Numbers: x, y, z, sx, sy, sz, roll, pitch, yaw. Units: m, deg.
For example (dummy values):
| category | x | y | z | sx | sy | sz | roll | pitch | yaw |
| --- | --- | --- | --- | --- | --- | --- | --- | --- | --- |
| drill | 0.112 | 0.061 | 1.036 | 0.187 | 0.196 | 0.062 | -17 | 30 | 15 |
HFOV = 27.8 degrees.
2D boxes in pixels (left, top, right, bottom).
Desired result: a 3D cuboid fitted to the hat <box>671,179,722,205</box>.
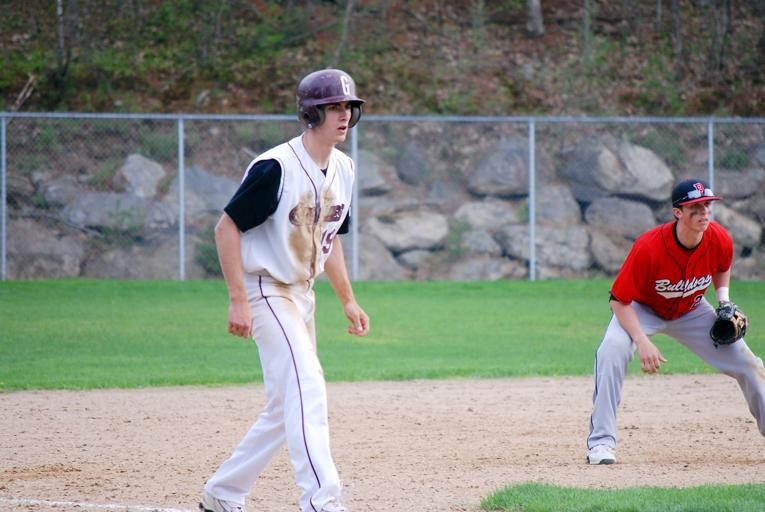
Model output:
| category | x | y | z | sx | sy | sz | roll | pitch | yaw |
| --- | --- | --- | --- | --- | --- | --- | --- | --- | --- |
| hat | 3.881 | -0.749 | 19.353 | 0.347 | 0.246 | 0.443 | -9 | -1 | -38 |

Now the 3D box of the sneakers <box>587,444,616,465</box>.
| category | x | y | z | sx | sy | sz | roll | pitch | yaw |
| --- | --- | --- | --- | --- | --- | --- | --- | --- | --- |
| sneakers | 2.742 | 2.487 | 19.446 | 0.357 | 0.241 | 0.141 | 0 | 2 | 9 |

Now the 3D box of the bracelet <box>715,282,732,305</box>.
| category | x | y | z | sx | sy | sz | roll | pitch | yaw |
| --- | --- | --- | --- | --- | --- | --- | --- | --- | --- |
| bracelet | 4.499 | 0.497 | 20.414 | 0.119 | 0.109 | 0.400 | 8 | 25 | -16 |

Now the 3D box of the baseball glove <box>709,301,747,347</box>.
| category | x | y | z | sx | sy | sz | roll | pitch | yaw |
| --- | --- | --- | --- | --- | --- | --- | --- | --- | --- |
| baseball glove | 4.371 | 0.875 | 19.534 | 0.420 | 0.547 | 0.256 | 3 | 12 | 29 |
